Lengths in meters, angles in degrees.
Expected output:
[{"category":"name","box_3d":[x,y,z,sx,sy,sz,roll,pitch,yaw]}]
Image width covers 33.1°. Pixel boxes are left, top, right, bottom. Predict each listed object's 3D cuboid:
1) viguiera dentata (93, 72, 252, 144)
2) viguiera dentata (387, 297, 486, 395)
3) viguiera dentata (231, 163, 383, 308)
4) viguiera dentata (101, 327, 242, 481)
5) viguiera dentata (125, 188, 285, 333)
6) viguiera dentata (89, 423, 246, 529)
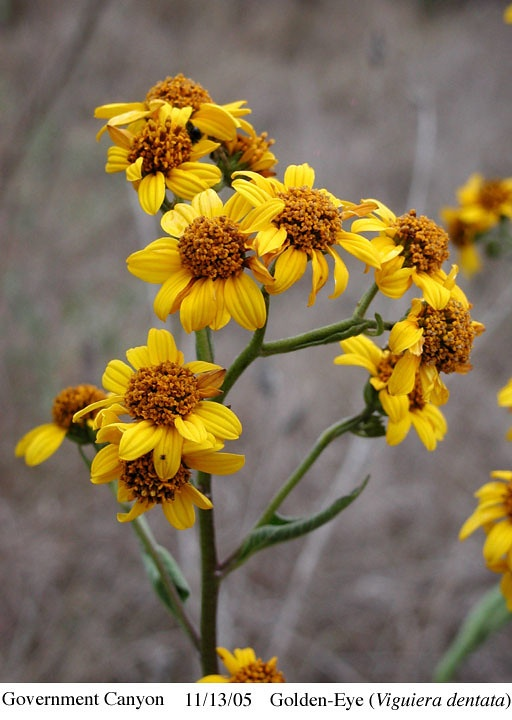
[{"category":"viguiera dentata","box_3d":[-0.099,-0.307,1.027,0.162,0.062,0.161,13,25,-6]},{"category":"viguiera dentata","box_3d":[0.198,-0.019,0.967,0.121,0.093,0.057,-26,31,-33]},{"category":"viguiera dentata","box_3d":[0.069,-0.146,0.934,0.143,0.135,0.053,-22,63,25]},{"category":"viguiera dentata","box_3d":[-0.106,0.039,0.945,0.167,0.056,0.157,2,32,-1]},{"category":"viguiera dentata","box_3d":[-0.044,-0.115,0.935,0.182,0.062,0.176,9,45,21]},{"category":"viguiera dentata","box_3d":[-0.104,0.130,0.928,0.136,0.126,0.056,-14,12,15]}]
